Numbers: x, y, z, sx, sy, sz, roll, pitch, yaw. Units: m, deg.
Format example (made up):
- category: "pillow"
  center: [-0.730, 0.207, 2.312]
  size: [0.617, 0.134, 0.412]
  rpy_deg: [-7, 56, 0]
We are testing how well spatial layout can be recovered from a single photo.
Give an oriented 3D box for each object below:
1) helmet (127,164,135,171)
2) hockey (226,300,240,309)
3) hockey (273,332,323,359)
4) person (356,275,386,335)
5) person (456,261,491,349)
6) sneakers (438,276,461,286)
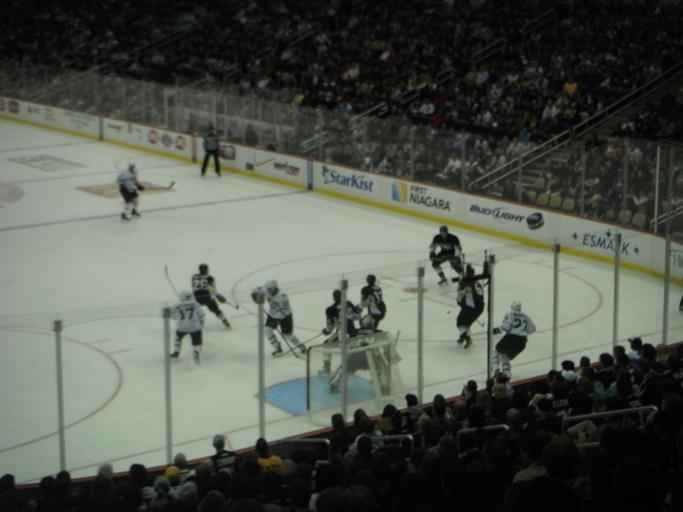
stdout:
- category: "helmet"
  center: [-5.706, -2.416, 25.003]
  size: [0.215, 0.174, 0.196]
  rpy_deg: [-3, 7, -22]
- category: "hockey"
  center: [-1.787, 0.837, 15.391]
  size: [0.172, 0.047, 0.176]
  rpy_deg: [28, 23, 31]
- category: "hockey"
  center: [-0.747, 1.541, 15.618]
  size: [0.309, 0.381, 1.269]
  rpy_deg: [-11, 8, -43]
- category: "person"
  center: [0.524, 0.752, 14.640]
  size: [0.451, 0.906, 0.161]
  rpy_deg: [-2, 6, -41]
- category: "person"
  center: [2.133, 0.810, 15.132]
  size: [0.551, 1.492, 0.481]
  rpy_deg: [1, 4, -8]
- category: "sneakers"
  center: [1.756, 0.396, 14.803]
  size: [0.399, 0.117, 0.118]
  rpy_deg: [-1, 5, -27]
